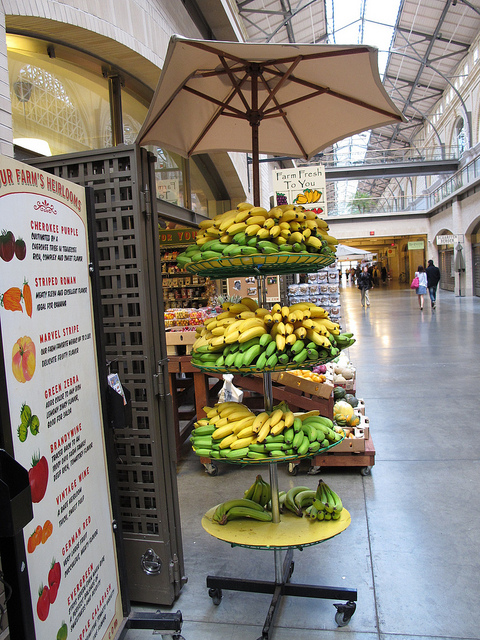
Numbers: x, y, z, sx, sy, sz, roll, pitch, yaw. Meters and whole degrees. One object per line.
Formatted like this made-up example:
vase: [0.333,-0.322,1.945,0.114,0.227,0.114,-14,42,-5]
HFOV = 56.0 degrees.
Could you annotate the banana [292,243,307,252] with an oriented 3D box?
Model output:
banana: [0.252,-0.306,1.920,0.028,0.028,0.061,-27,-4,26]

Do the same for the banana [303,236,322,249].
banana: [0.315,-0.337,1.966,0.035,0.046,0.095,-49,17,2]

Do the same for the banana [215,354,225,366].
banana: [-0.089,0.181,1.973,0.034,0.024,0.069,0,12,3]

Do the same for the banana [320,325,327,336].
banana: [0.366,0.053,1.983,0.014,0.055,0.017,-7,-4,-9]

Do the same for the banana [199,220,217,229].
banana: [-0.173,-0.479,2.318,0.036,0.053,0.145,10,0,-16]

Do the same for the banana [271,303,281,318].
banana: [0.154,-0.038,2.006,0.030,0.060,0.019,7,-17,17]

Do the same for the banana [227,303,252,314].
banana: [-0.003,-0.053,2.218,0.109,0.043,0.101,-5,2,0]

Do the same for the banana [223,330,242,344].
banana: [-0.031,0.078,1.942,0.032,0.033,0.099,15,37,28]

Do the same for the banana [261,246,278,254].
banana: [0.115,-0.279,1.836,0.029,0.026,0.088,18,9,10]

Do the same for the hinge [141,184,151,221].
hinge: [-0.435,-0.545,2.096,0.026,0.153,0.080,-4,2,9]

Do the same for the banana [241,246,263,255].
banana: [0.051,-0.276,1.860,0.094,0.031,0.037,1,-11,8]

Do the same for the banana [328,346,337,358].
banana: [0.397,0.143,1.940,0.021,0.040,0.014,-13,-19,-18]

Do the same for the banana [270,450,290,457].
banana: [0.167,0.570,1.921,0.089,0.032,0.026,3,-18,-44]

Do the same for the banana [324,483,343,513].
banana: [0.476,0.890,2.249,0.050,0.031,0.150,-29,11,13]

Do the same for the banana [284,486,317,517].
banana: [0.316,0.966,2.383,0.133,0.103,0.050,13,18,27]

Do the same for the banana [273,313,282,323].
banana: [0.161,-0.004,1.956,0.018,0.017,0.060,-43,17,48]

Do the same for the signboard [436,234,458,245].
signboard: [10.344,-3.970,22.534,0.170,0.603,1.184,8,-4,-32]

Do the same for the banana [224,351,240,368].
banana: [-0.035,0.170,1.912,0.036,0.029,0.105,26,35,-2]

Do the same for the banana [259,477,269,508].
banana: [0.132,0.946,2.485,0.037,0.154,0.058,-1,-2,29]

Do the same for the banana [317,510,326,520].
banana: [0.390,0.942,2.176,0.027,0.053,0.020,-5,-18,36]

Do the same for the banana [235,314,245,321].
banana: [0.001,-0.008,2.134,0.032,0.033,0.016,-4,2,-3]

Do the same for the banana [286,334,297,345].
banana: [0.214,0.087,1.901,0.038,0.030,0.080,-1,6,7]

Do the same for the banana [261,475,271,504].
banana: [0.156,0.949,2.513,0.034,0.149,0.057,-16,-9,34]

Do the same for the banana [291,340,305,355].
banana: [0.239,0.114,1.884,0.026,0.029,0.082,-18,15,30]

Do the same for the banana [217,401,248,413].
banana: [-0.049,0.450,2.316,0.134,0.042,0.127,-6,2,-39]

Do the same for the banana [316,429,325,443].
banana: [0.365,0.531,2.072,0.031,0.023,0.061,14,15,-15]

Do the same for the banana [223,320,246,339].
banana: [-0.017,0.031,2.009,0.040,0.038,0.133,-29,13,45]

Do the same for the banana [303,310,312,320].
banana: [0.311,-0.021,2.087,0.023,0.018,0.048,8,21,16]

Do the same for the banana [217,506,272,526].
banana: [0.040,0.971,2.249,0.187,0.053,0.099,8,2,-12]

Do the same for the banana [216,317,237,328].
banana: [-0.075,0.015,2.140,0.035,0.036,0.122,11,22,15]

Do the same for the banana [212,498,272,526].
banana: [-0.002,0.967,2.277,0.198,0.061,0.122,1,17,-12]

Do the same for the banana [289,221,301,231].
banana: [0.243,-0.414,2.012,0.032,0.028,0.067,-13,18,-16]

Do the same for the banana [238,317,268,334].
banana: [0.053,0.009,1.973,0.063,0.052,0.199,17,22,11]

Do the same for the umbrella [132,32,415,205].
umbrella: [0.147,-0.961,2.605,1.381,0.693,1.495,-5,2,-25]

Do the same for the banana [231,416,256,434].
banana: [0.016,0.488,2.100,0.148,0.043,0.046,-23,62,-39]

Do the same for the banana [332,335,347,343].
banana: [0.463,0.085,2.126,0.033,0.029,0.100,9,6,-24]

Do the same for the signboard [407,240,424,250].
signboard: [11.662,-4.951,30.033,1.129,0.344,0.707,-6,2,-34]

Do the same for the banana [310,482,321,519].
banana: [0.373,0.903,2.256,0.036,0.164,0.055,3,-13,39]

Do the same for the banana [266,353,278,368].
banana: [0.130,0.171,1.848,0.023,0.027,0.077,18,53,15]

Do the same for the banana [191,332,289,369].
banana: [-0.038,0.101,1.998,0.478,0.179,0.149,6,18,37]

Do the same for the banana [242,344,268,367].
banana: [0.075,0.141,1.948,0.045,0.068,0.192,-27,12,28]

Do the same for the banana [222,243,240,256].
banana: [-0.040,-0.294,1.913,0.030,0.038,0.115,-21,21,25]
